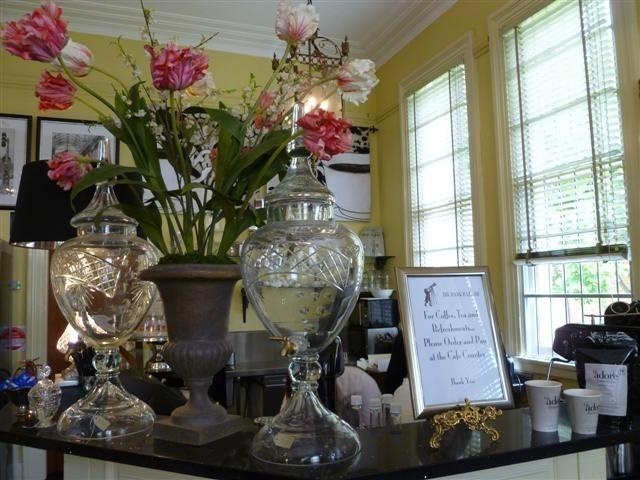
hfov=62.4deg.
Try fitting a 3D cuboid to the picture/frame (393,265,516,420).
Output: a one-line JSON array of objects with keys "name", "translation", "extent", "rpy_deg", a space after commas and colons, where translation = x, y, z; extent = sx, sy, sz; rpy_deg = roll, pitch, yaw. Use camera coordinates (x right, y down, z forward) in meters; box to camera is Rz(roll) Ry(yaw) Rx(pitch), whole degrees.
[{"name": "picture/frame", "translation": [0.365, 0.269, 1.447], "extent": [0.314, 0.384, 0.054], "rpy_deg": [1, -7, -19]}]

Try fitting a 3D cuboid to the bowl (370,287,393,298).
[{"name": "bowl", "translation": [0.648, 0.561, 5.594], "extent": [0.247, 0.118, 0.424], "rpy_deg": [-2, -7, 5]}]

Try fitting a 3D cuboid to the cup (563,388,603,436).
[{"name": "cup", "translation": [0.702, 0.459, 1.423], "extent": [0.101, 0.111, 0.106], "rpy_deg": [0, -10, 0]}]

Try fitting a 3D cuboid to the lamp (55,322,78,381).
[{"name": "lamp", "translation": [-1.272, 0.560, 2.673], "extent": [0.088, 0.284, 0.930], "rpy_deg": [2, -7, -26]}]
